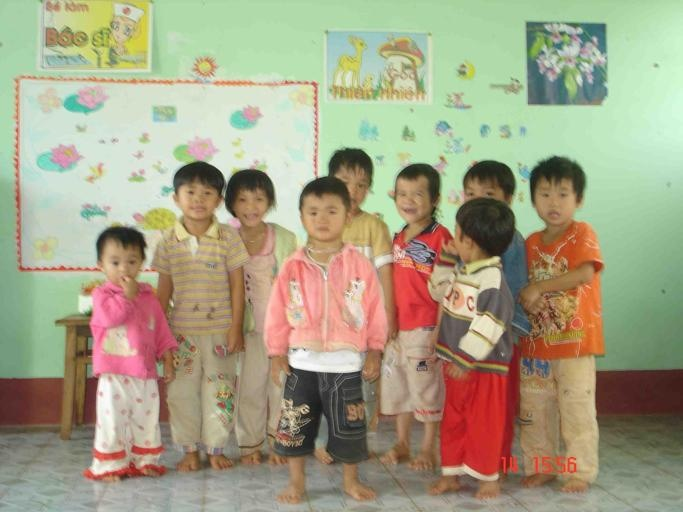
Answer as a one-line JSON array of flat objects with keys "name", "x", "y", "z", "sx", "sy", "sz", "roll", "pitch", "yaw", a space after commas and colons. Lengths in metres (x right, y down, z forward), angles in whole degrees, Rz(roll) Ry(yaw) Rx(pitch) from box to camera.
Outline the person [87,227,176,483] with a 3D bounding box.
[{"name": "person", "x": -1.071, "y": 0.481, "z": 3.318, "sx": 0.466, "sy": 1.250, "sz": 0.260, "roll": -1, "pitch": 6, "yaw": -15}]

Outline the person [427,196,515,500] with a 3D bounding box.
[{"name": "person", "x": 0.647, "y": 0.429, "z": 3.179, "sx": 0.382, "sy": 1.421, "sz": 0.314, "roll": 1, "pitch": 6, "yaw": 14}]

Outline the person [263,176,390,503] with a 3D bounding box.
[{"name": "person", "x": -0.074, "y": 0.378, "z": 3.155, "sx": 0.575, "sy": 1.516, "sz": 0.292, "roll": 1, "pitch": 5, "yaw": 4}]

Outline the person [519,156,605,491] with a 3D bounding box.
[{"name": "person", "x": 1.115, "y": 0.314, "z": 3.296, "sx": 0.391, "sy": 1.629, "sz": 0.411, "roll": 2, "pitch": 6, "yaw": 19}]
